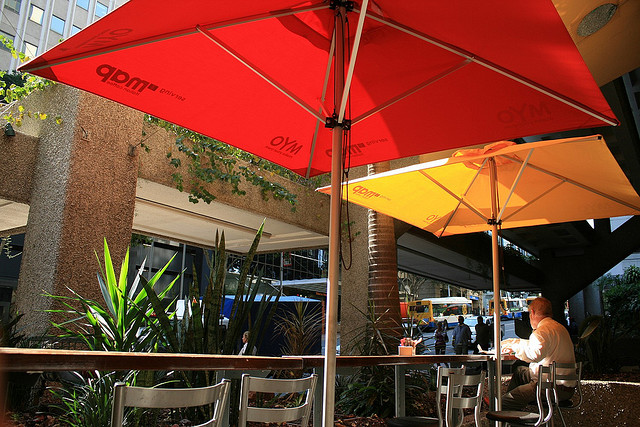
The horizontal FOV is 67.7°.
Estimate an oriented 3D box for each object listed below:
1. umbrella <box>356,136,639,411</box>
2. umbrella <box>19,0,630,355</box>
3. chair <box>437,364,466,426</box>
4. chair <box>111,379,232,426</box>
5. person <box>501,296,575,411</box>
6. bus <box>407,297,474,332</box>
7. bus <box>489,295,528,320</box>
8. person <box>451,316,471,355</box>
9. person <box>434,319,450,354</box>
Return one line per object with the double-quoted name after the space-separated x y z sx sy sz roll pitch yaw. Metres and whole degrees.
2.519 0.232 6.408 3.149 3.056 3.324 -3 -6 30 "umbrella"
0.173 -0.281 3.731 4.045 2.674 1.788 1 -20 -1 "umbrella"
1.480 1.982 5.339 0.295 0.671 2.301 -5 -22 14 "chair"
-0.883 1.139 2.876 0.671 0.262 0.175 9 -22 -20 "chair"
2.718 1.836 5.979 0.930 1.576 0.951 7 -8 -42 "person"
7.858 6.192 29.835 1.623 2.066 5.673 -10 -13 44 "bus"
11.033 5.479 27.650 1.128 1.521 4.455 -12 -24 31 "bus"
4.318 3.886 14.558 0.549 1.502 0.432 -2 3 19 "person"
2.854 3.057 11.364 0.315 1.003 0.259 3 14 14 "person"
